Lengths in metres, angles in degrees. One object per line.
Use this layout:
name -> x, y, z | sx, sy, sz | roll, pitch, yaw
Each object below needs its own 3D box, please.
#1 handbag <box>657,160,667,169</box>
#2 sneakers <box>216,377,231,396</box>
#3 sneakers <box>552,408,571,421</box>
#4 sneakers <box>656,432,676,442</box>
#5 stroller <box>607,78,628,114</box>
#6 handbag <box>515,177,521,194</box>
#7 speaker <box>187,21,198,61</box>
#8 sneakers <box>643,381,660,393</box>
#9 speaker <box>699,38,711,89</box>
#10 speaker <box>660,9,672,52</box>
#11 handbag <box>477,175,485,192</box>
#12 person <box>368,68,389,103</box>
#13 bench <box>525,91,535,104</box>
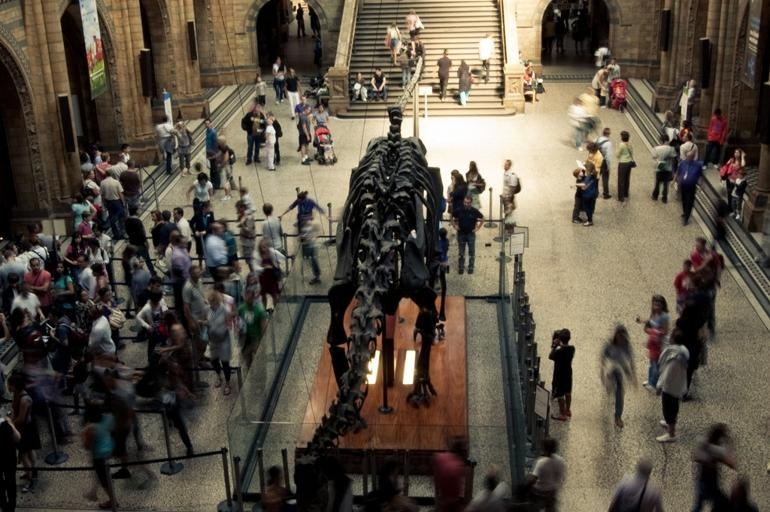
handbag -> 7.983, -2.625, 17.574 | 0.234, 0.246, 0.138 | 5, 14, 25
sneakers -> -3.050, 2.429, 11.441 | 0.161, 0.188, 0.490 | -12, 35, -20
sneakers -> 3.157, 2.828, 10.708 | 0.401, 0.277, 0.146 | -14, 36, 39
sneakers -> 4.677, 3.024, 10.196 | 0.327, 0.142, 0.152 | -2, 52, 11
stroller -> 9.884, -6.822, 25.936 | 0.653, 1.241, 0.753 | -5, 10, -6
handbag -> 3.659, -1.969, 16.809 | 0.124, 0.424, 0.648 | 2, 14, 15
speaker -> -8.063, -8.932, 25.281 | 0.327, 1.576, 0.324 | -3, 12, -7
sneakers -> 4.895, 2.383, 11.195 | 0.171, 0.130, 0.267 | -28, 31, -22
speaker -> 10.263, -6.151, 19.483 | 0.337, 1.547, 0.611 | 5, 13, 27
speaker -> 10.991, -8.812, 23.775 | 0.352, 1.612, 0.483 | 3, 12, 18
handbag -> 2.441, -1.833, 15.445 | 0.152, 0.392, 0.410 | 3, 14, 18
person -> -0.311, -7.421, 26.406 | 0.785, 1.404, 0.896 | -11, 21, -29
bench -> 6.409, -7.069, 27.178 | 0.507, 0.513, 0.429 | 1, 45, 10
